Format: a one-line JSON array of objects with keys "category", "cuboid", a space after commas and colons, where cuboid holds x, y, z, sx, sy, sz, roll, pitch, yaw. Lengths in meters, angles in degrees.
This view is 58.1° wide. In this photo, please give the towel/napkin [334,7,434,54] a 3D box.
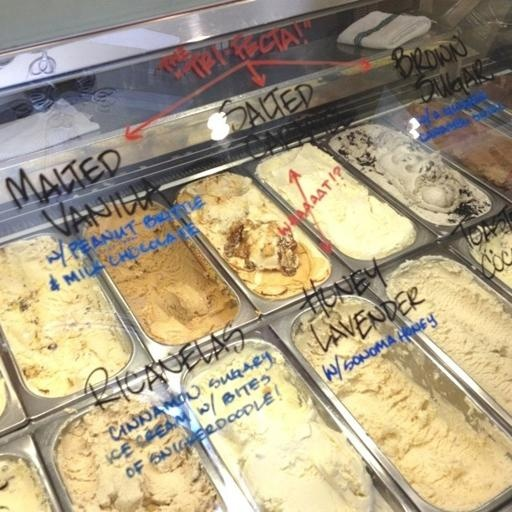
[{"category": "towel/napkin", "cuboid": [0.390, -0.755, 1.580, 0.206, 0.192, 0.051, -20, -52, -16]}]
